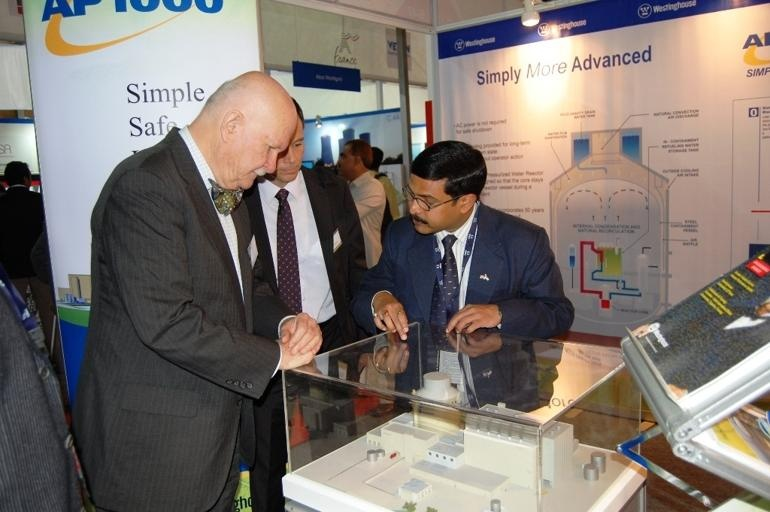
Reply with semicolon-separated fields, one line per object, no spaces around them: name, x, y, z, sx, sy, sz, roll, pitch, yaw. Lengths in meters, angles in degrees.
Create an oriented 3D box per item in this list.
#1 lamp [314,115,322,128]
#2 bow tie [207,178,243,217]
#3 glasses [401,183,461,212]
lamp;-0.912;-1.825;7.566;0.085;0.147;0.060;-4;-6;11
bow tie;-0.605;-0.231;2.108;0.095;0.124;0.048;-1;5;-26
glasses;0.235;-0.307;2.699;0.157;0.050;0.152;-11;34;-31
